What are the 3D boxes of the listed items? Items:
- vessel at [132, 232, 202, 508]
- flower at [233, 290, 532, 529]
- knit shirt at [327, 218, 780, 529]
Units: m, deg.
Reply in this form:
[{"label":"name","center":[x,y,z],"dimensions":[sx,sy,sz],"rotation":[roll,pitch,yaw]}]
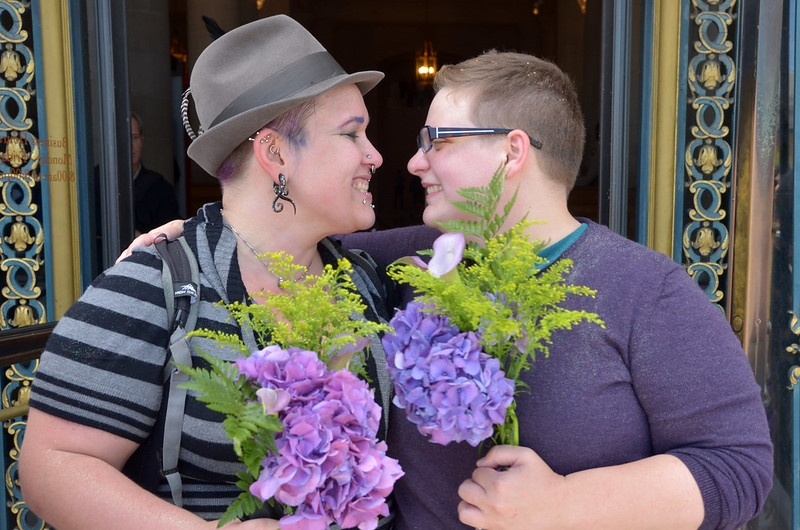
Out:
[{"label":"vessel","center":[-0.849,0.391,3.253],"dimensions":[0.244,0.803,0.539],"rotation":[2,4,-17]},{"label":"flower","center":[-0.076,0.500,2.954],"dimensions":[0.744,0.771,0.503],"rotation":[-33,5,-17]},{"label":"knit shirt","center":[0.655,0.468,3.366],"dimensions":[1.689,1.460,0.998],"rotation":[-4,-9,27]}]
